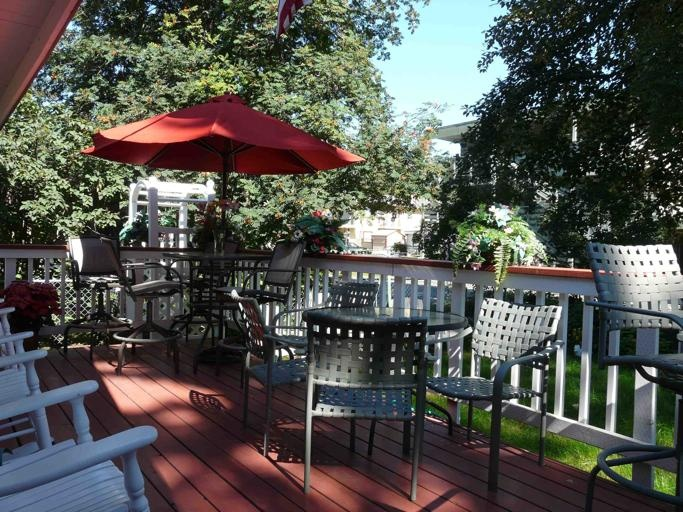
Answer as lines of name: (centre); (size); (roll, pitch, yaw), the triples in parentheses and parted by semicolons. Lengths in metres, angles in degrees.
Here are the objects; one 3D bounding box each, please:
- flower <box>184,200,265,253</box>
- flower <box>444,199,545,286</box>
flower: (-1.217, -0.249, 6.170); (0.697, 0.585, 0.665); (1, -5, -16)
flower: (1.211, -0.118, 4.576); (0.714, 0.506, 0.690); (3, 4, -1)
